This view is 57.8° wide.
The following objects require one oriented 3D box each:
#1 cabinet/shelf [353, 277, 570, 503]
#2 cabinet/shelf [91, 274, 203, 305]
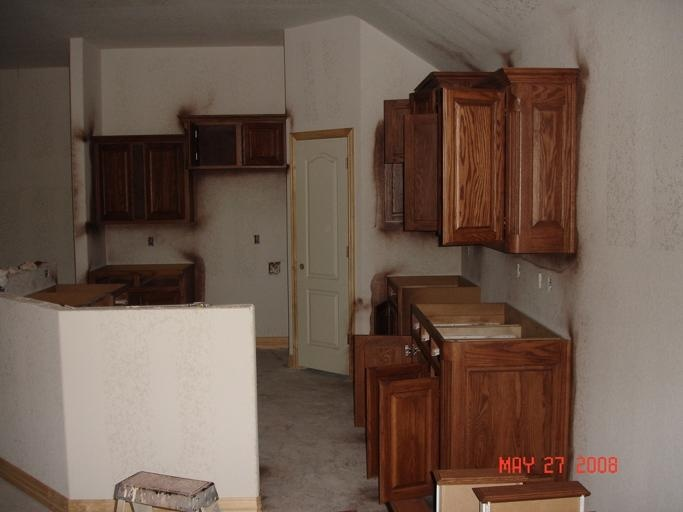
[{"bbox_3d":[0.784,1.010,4.512,1.302,1.156,2.257,-1,10,-6],"label":"cabinet/shelf"},{"bbox_3d":[-2.245,0.411,7.220,1.056,0.447,1.016,2,9,-6],"label":"cabinet/shelf"}]
